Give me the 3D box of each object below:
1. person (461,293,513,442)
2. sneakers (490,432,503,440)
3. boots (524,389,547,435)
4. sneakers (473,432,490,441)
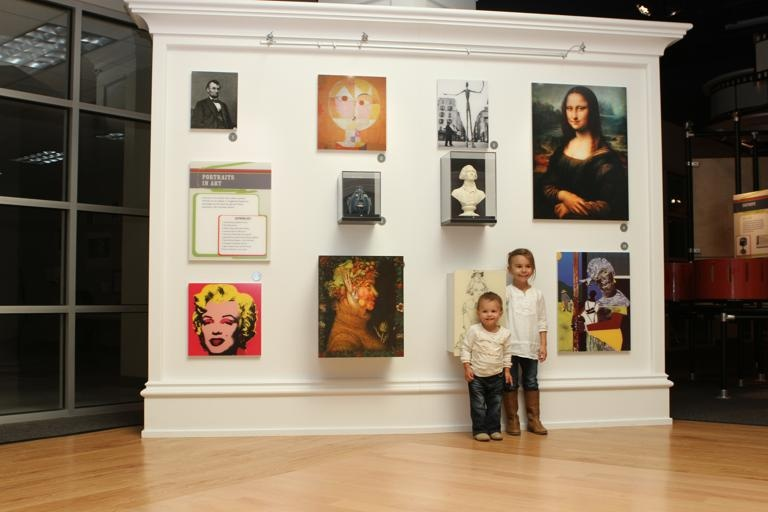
[{"bbox_3d":[1.039,1.099,6.362,0.531,1.411,0.490,1,8,4],"label":"person"},{"bbox_3d":[1.121,1.794,6.309,0.121,0.060,0.150,1,8,9],"label":"sneakers"},{"bbox_3d":[1.565,1.603,6.533,0.163,0.423,0.269,-2,8,-16],"label":"boots"},{"bbox_3d":[0.975,1.788,6.262,0.165,0.070,0.095,0,8,0],"label":"sneakers"}]
